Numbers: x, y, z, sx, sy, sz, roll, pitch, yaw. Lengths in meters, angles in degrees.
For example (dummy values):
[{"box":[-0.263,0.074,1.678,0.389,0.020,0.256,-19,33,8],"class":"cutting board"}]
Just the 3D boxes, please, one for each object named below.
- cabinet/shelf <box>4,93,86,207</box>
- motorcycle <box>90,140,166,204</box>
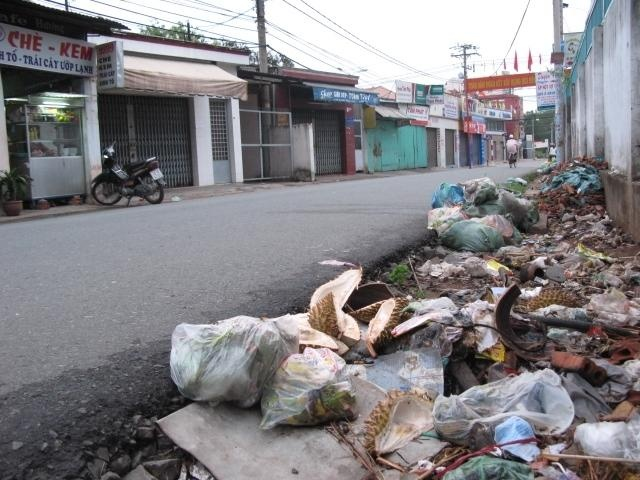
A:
[{"box":[-6.653,-2.249,11.843,0.854,2.505,1.640,1,11,34],"class":"cabinet/shelf"},{"box":[-4.810,-1.543,12.062,1.702,1.414,0.541,-4,9,5],"class":"motorcycle"}]
